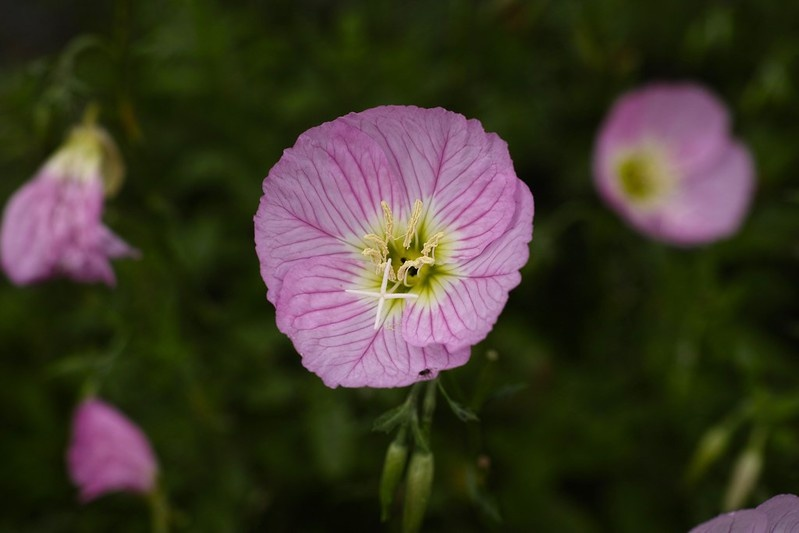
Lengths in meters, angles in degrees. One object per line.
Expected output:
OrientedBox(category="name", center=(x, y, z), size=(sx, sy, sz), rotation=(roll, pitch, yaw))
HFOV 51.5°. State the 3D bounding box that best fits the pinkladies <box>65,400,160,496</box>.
OrientedBox(category="pinkladies", center=(-0.935, 0.585, 2.667), size=(0.311, 0.277, 0.227), rotation=(0, 52, -6))
